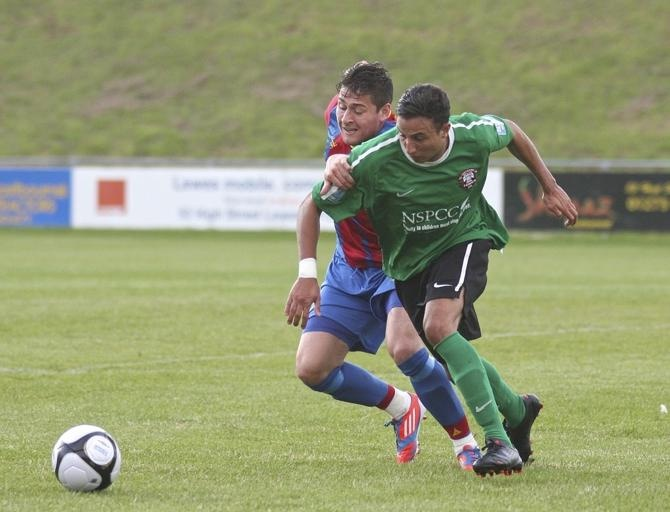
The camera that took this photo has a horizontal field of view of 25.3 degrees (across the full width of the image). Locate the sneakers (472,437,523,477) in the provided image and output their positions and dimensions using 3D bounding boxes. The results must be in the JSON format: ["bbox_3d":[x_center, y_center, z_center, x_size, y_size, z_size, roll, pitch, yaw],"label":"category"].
[{"bbox_3d":[1.307,1.632,12.176,0.219,0.252,0.455,-13,-16,44],"label":"sneakers"}]

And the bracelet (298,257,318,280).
[{"bbox_3d":[-0.227,0.102,12.510,0.157,0.168,0.157,-1,1,4],"label":"bracelet"}]
